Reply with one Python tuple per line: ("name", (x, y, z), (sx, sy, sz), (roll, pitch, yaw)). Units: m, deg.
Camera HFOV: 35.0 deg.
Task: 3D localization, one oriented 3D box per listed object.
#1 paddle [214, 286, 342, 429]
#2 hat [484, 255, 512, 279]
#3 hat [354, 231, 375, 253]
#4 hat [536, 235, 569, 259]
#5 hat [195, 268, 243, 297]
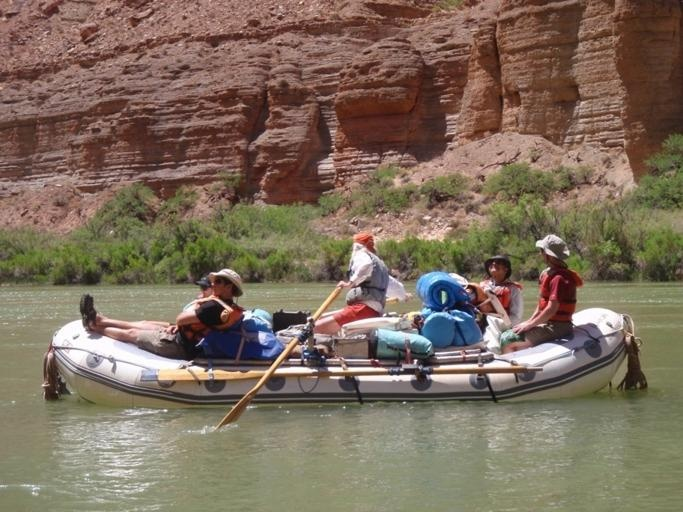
("paddle", (-1.164, 1.971, 19.955), (0.201, 3.371, 0.324), (51, -19, -18))
("hat", (2.995, 0.160, 20.246), (0.383, 0.248, 0.489), (5, -38, 10))
("hat", (0.496, -0.273, 20.720), (0.418, 0.381, 0.364), (-3, 1, -14))
("hat", (3.957, -0.158, 19.840), (0.546, 0.297, 0.432), (38, 17, 30))
("hat", (-2.225, 0.391, 19.712), (0.712, 0.251, 0.552), (10, -19, 29))
